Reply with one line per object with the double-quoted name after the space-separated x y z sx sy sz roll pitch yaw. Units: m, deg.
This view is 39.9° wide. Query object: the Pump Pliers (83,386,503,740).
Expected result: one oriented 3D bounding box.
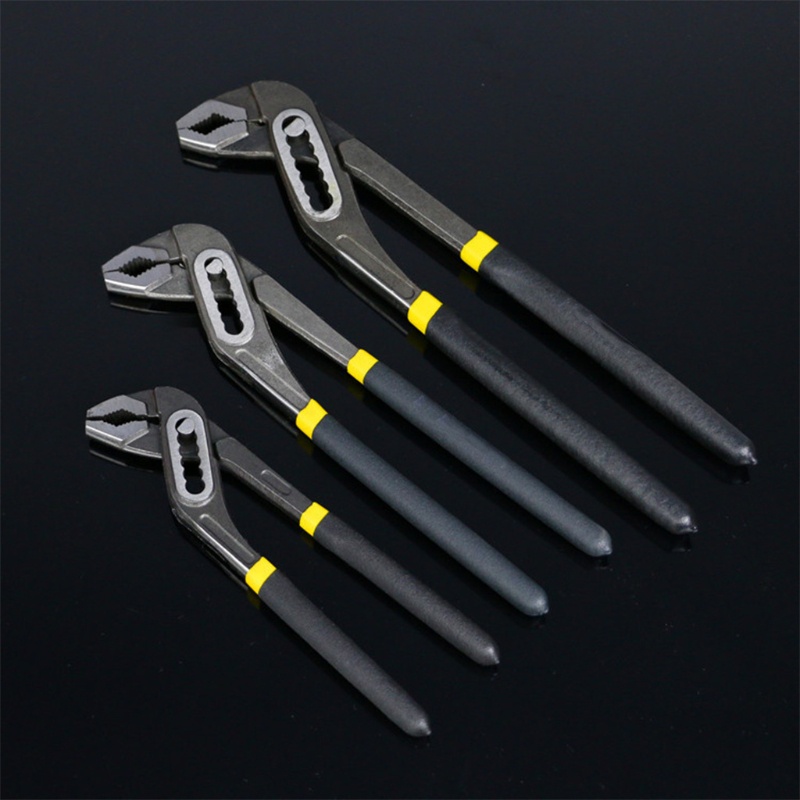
-0.326 0.217 2.067 1.181 0.096 0.343 36 55 23 "Pump Pliers"
